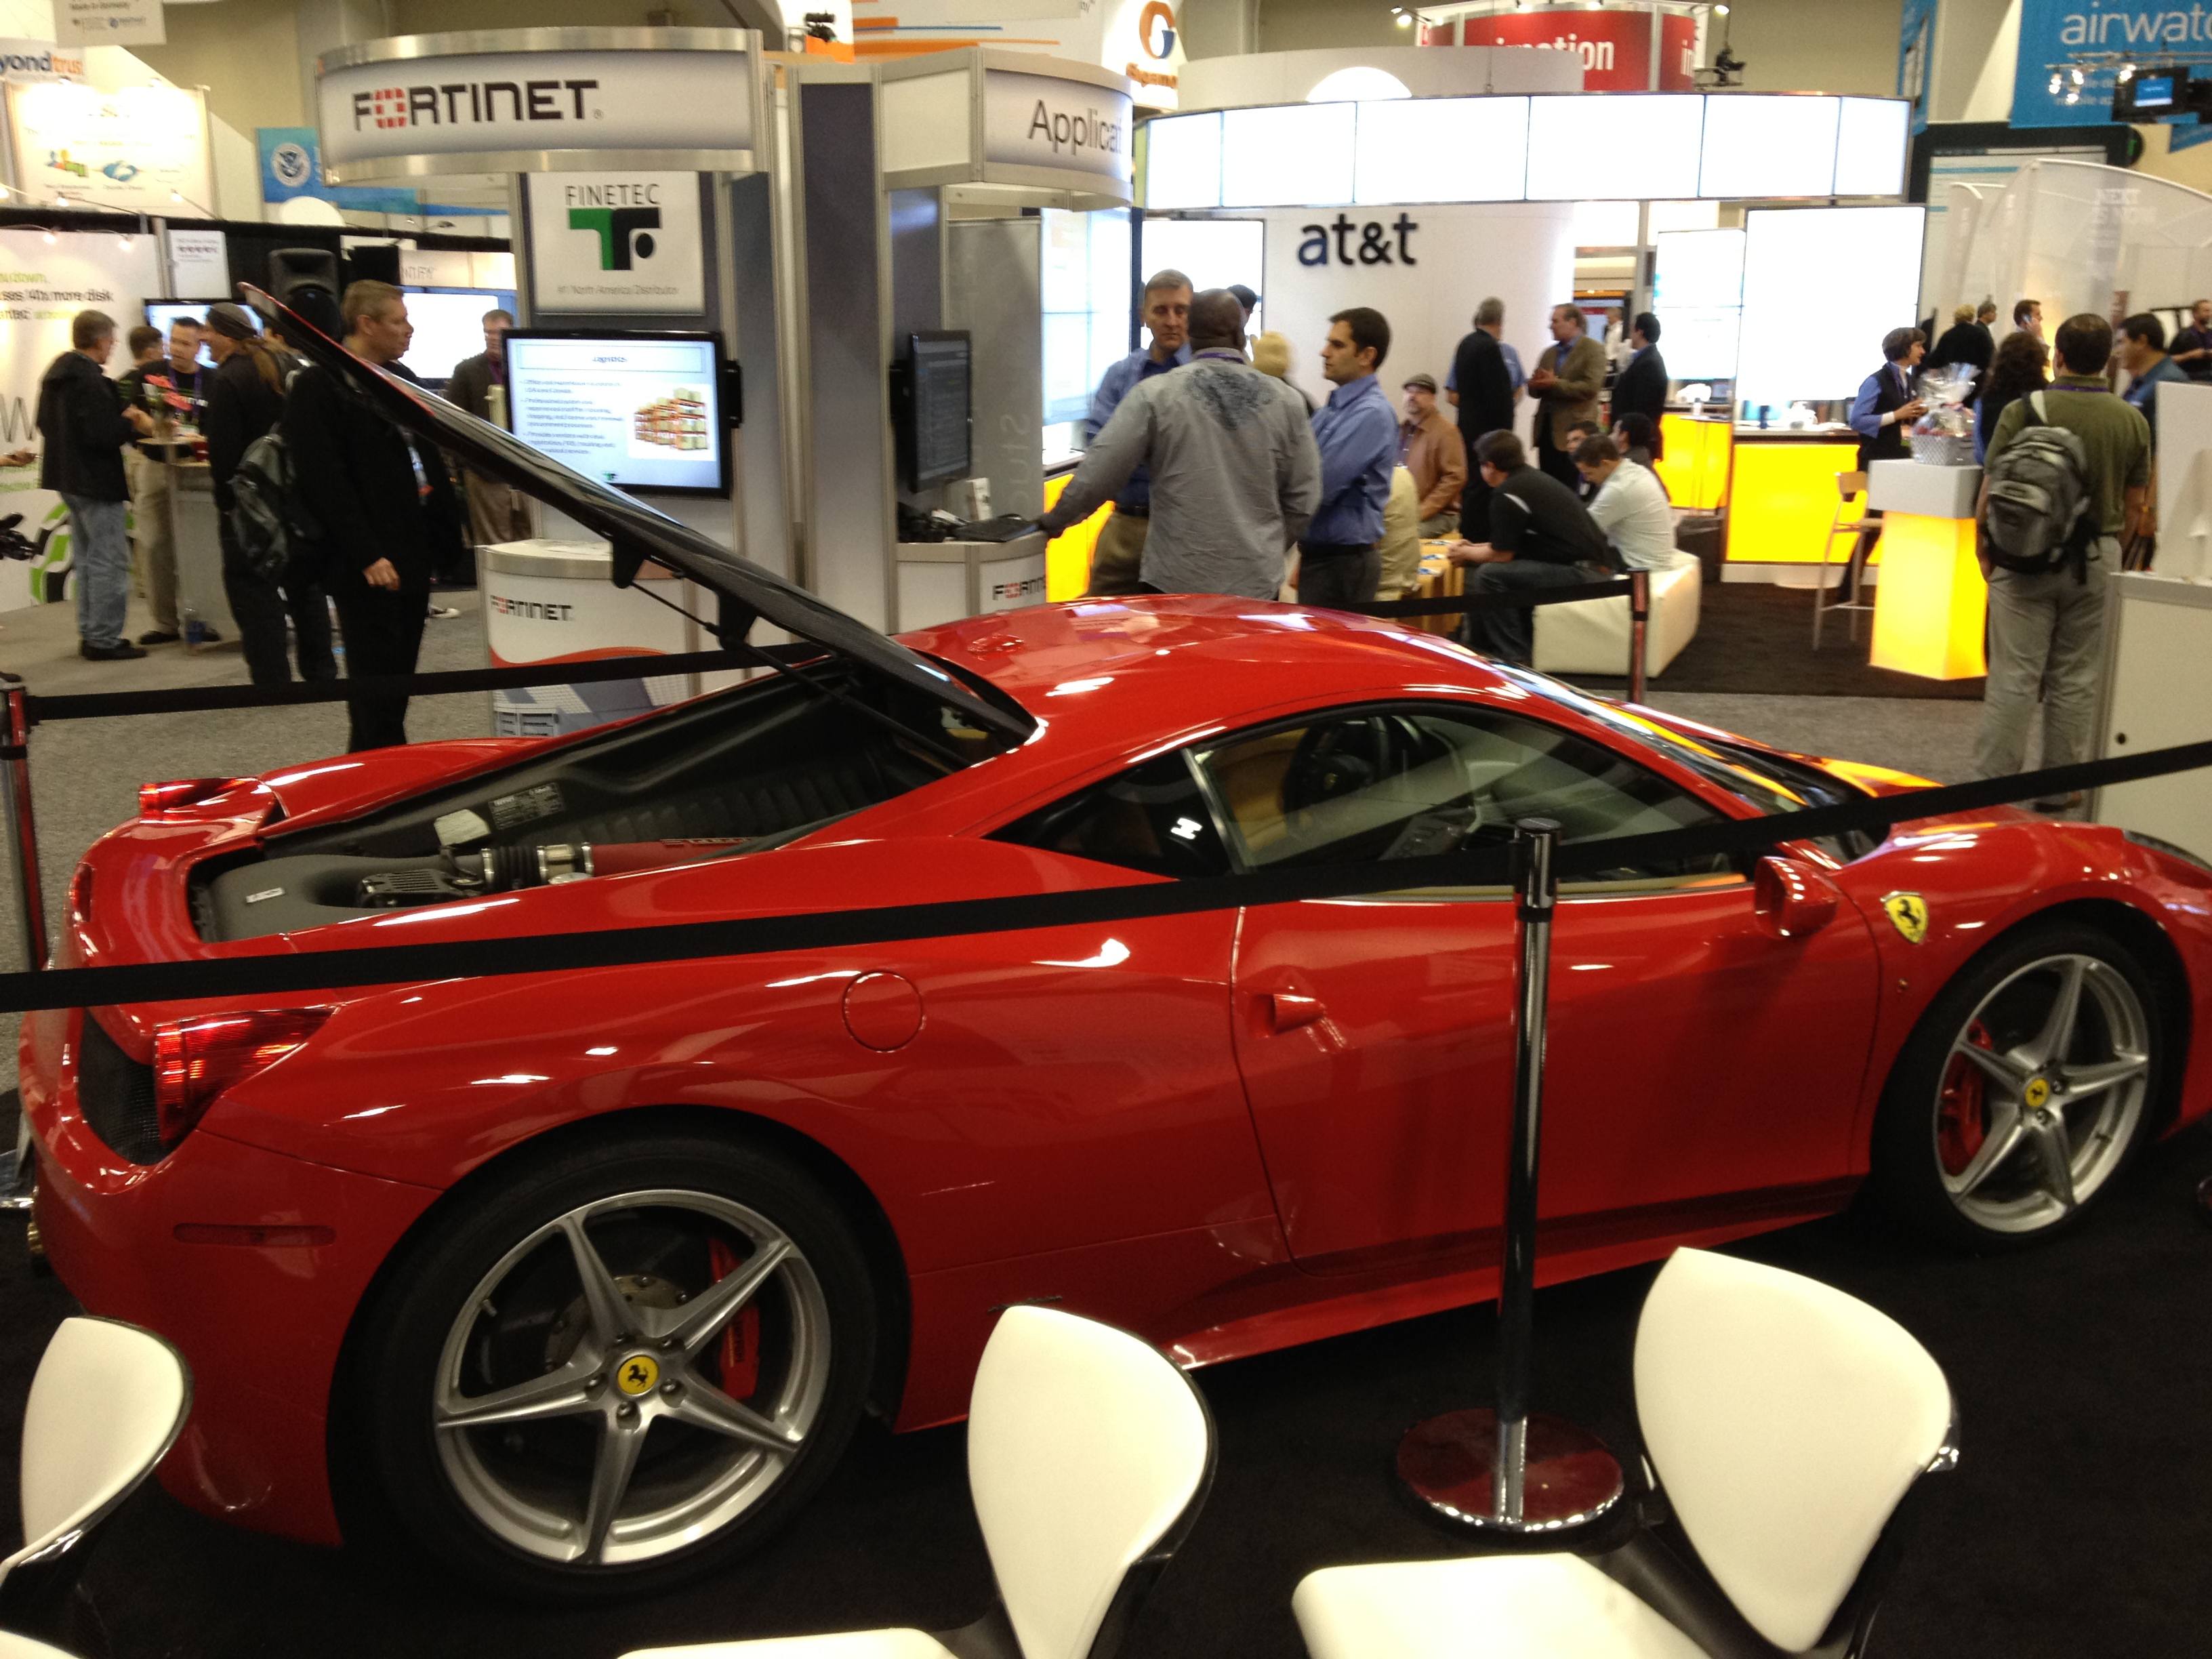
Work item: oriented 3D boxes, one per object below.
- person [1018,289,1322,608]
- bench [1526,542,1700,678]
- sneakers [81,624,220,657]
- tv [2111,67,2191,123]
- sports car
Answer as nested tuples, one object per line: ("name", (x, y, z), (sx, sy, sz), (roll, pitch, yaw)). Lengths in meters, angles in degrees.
("person", (0.396, -1.179, 6.554), (1.063, 1.969, 0.669), (-6, 33, -5))
("bench", (2.618, -1.153, 8.464), (0.955, 0.662, 1.640), (4, 12, 23))
("sneakers", (-6.303, -1.241, 10.719), (0.739, 0.264, 0.230), (-9, 29, -26))
("tv", (11.142, -7.937, 17.227), (0.735, 0.592, 0.562), (3, 16, 10))
("sports car", (0.254, -0.066, 3.420), (4.327, 1.514, 2.054), (-8, 16, -21))
